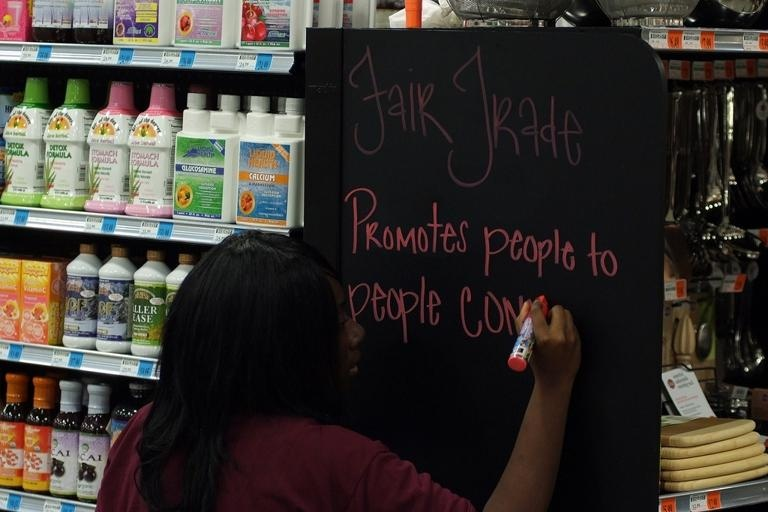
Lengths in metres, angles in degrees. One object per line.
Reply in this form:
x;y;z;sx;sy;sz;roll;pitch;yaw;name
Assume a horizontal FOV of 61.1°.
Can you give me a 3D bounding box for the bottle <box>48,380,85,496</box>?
-1.301;0.765;2.665;0.110;0.512;0.109;0;11;0;bottle
